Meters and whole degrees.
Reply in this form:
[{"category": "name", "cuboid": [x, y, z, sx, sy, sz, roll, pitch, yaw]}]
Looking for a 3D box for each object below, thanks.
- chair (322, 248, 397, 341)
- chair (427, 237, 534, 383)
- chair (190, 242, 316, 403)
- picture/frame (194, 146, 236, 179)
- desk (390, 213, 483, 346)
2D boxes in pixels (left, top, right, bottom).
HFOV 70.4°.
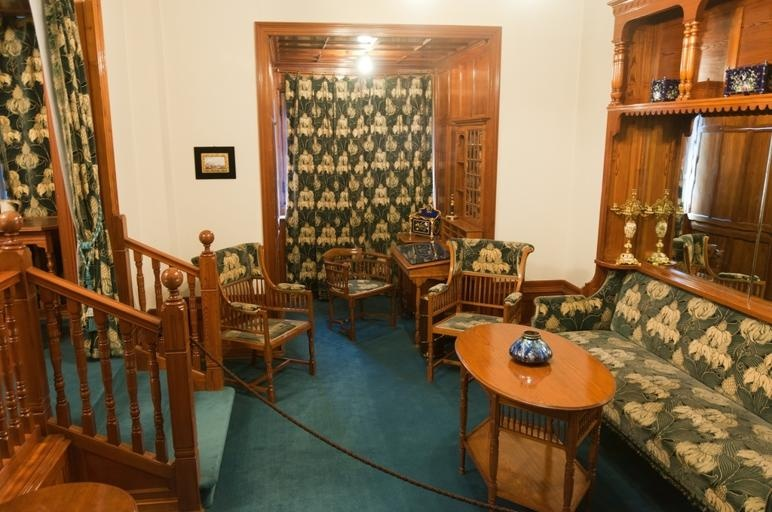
[{"category": "chair", "cuboid": [-0.407, 0.412, 7.035, 0.730, 0.984, 0.833, 9, 15, 40]}, {"category": "chair", "cuboid": [0.982, 0.606, 5.866, 1.104, 1.448, 1.117, -10, 14, -42]}, {"category": "chair", "cuboid": [-1.334, 0.655, 5.708, 0.990, 1.377, 1.040, 8, 13, 29]}, {"category": "picture/frame", "cuboid": [-1.920, -1.055, 6.064, 0.365, 0.299, 0.024, 0, 6, -8]}, {"category": "desk", "cuboid": [0.615, 0.290, 6.378, 0.692, 0.987, 1.532, 0, 9, -2]}]
